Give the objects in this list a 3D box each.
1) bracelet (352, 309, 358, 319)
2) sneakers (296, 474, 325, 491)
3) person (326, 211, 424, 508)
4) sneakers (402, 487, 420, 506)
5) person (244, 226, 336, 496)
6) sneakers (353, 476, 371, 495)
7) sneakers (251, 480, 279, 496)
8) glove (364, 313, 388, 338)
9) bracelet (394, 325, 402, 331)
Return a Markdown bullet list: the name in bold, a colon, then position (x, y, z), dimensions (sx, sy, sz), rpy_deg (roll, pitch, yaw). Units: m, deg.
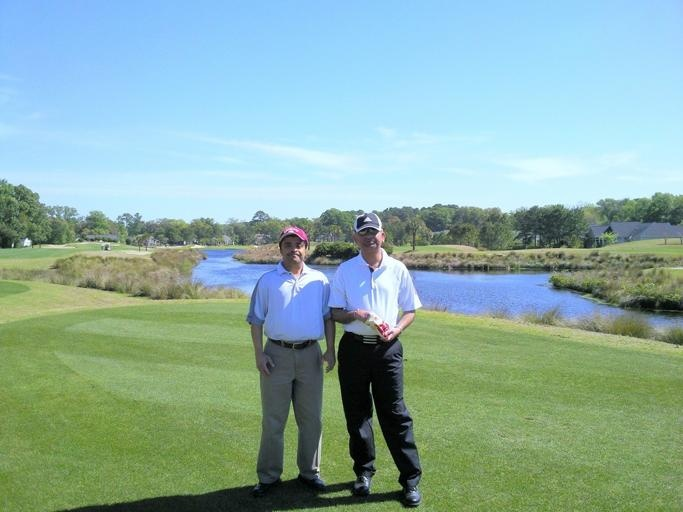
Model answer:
- **bracelet**: position (0.155, 0.659, 5.895), dimensions (0.065, 0.066, 0.067), rpy_deg (7, 34, -10)
- **sneakers**: position (-0.354, 2.603, 5.908), dimensions (0.334, 0.153, 0.121), rpy_deg (-7, 0, 43)
- **person**: position (0.433, 1.056, 6.015), dimensions (1.061, 3.019, 1.395), rpy_deg (-2, 13, -12)
- **sneakers**: position (0.775, 2.612, 5.635), dimensions (0.193, 0.139, 0.240), rpy_deg (3, 12, 9)
- **person**: position (-0.564, 1.147, 5.972), dimensions (1.002, 2.872, 0.990), rpy_deg (-2, 13, -11)
- **sneakers**: position (0.242, 2.565, 5.831), dimensions (0.198, 0.140, 0.289), rpy_deg (2, 12, 5)
- **sneakers**: position (-0.855, 2.619, 5.827), dimensions (0.106, 0.130, 0.300), rpy_deg (-8, -12, 28)
- **glove**: position (0.409, 0.780, 5.852), dimensions (0.266, 0.268, 0.099), rpy_deg (2, 13, 5)
- **bracelet**: position (0.660, 0.842, 5.978), dimensions (0.053, 0.057, 0.056), rpy_deg (-2, -5, 33)
